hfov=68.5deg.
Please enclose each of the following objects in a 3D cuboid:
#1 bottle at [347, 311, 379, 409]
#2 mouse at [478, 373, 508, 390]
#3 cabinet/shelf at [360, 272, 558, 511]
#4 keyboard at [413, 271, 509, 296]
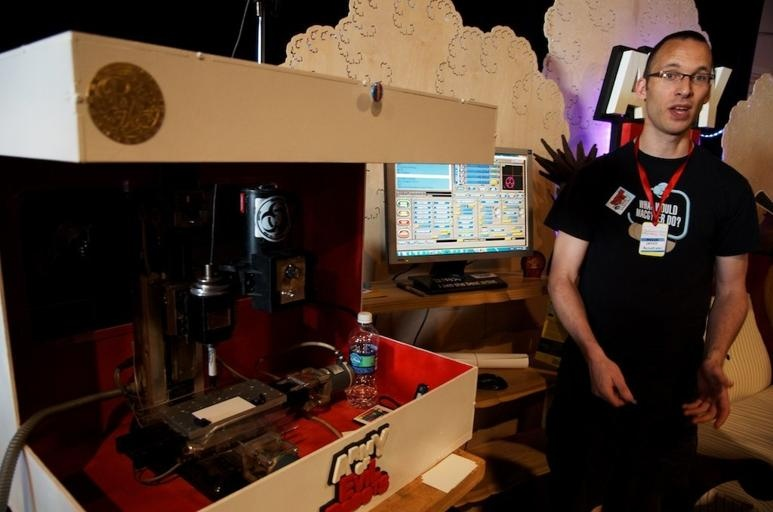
[{"bbox_3d":[-0.071,0.289,1.704,0.093,0.257,0.215,-1,14,-2],"label":"bottle"},{"bbox_3d":[0.433,0.515,2.319,0.117,0.037,0.070,-2,16,-3],"label":"mouse"},{"bbox_3d":[0.285,0.456,2.467,0.915,0.761,0.584,-5,15,-18],"label":"cabinet/shelf"},{"bbox_3d":[0.299,0.112,2.335,0.262,0.028,0.148,-3,11,-33],"label":"keyboard"}]
